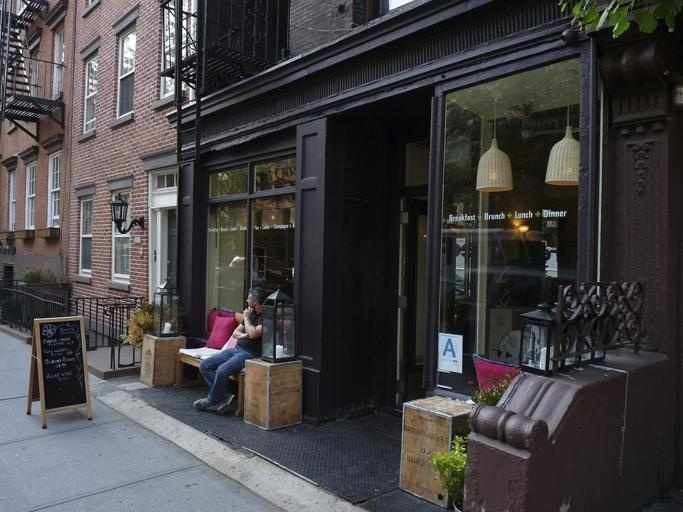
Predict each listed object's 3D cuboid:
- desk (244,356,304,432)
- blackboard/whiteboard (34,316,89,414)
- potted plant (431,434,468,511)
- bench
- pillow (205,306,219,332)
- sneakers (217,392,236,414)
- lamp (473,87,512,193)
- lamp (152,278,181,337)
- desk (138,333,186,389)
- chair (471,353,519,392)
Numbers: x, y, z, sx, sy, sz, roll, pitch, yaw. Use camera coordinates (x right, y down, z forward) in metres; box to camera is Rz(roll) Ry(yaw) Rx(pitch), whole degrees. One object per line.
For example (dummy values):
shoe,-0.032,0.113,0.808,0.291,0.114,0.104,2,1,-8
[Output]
desk,-0.905,1.760,7.606,0.581,0.847,0.592,0,2,-39
blackboard/whiteboard,-3.638,1.388,7.533,0.554,1.141,0.338,-5,9,-31
potted plant,0.977,2.056,5.299,0.305,0.724,0.530,2,8,11
bench,-2.127,2.046,8.871,0.579,0.773,1.495,3,-4,-37
pillow,-2.174,1.027,9.615,0.104,0.335,0.305,8,-10,-16
sneakers,-1.562,2.016,7.932,0.128,0.152,0.360,-30,20,37
lamp,1.654,-1.184,6.187,0.413,1.007,0.102,8,11,43
lamp,-2.849,0.841,9.340,0.403,0.841,0.452,-3,9,-20
desk,-2.885,1.638,9.307,0.581,0.764,0.703,4,-2,-44
chair,1.562,1.235,5.923,0.341,0.384,0.696,0,9,0
